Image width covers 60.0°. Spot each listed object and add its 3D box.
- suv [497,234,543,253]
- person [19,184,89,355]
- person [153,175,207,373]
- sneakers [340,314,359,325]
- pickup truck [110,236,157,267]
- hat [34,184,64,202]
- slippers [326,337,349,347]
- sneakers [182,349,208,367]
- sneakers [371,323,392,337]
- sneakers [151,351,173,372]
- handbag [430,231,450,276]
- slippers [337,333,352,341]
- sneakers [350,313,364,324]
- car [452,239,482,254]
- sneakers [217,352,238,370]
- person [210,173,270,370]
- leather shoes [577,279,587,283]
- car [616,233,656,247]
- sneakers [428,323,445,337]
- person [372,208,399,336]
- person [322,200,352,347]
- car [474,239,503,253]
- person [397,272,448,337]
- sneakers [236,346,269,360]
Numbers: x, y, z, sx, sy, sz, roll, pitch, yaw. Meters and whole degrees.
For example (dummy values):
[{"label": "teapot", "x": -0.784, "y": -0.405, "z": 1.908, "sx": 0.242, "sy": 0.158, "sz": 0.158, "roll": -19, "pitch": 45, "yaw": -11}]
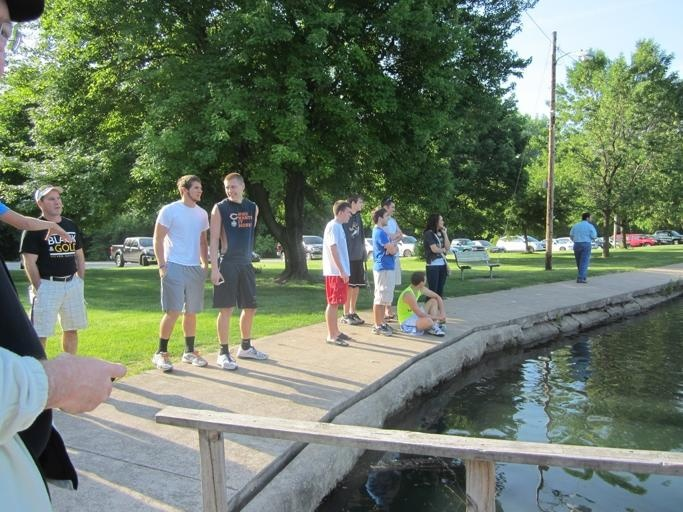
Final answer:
[{"label": "suv", "x": 13.986, "y": -0.931, "z": 46.775, "sx": 2.629, "sy": 1.328, "sz": 1.691, "roll": -2, "pitch": 1, "yaw": 22}, {"label": "person", "x": -3.370, "y": 0.319, "z": 7.037, "sx": 0.418, "sy": 2.256, "sz": 0.728, "roll": 20, "pitch": 21, "yaw": 37}, {"label": "person", "x": -2.030, "y": 0.228, "z": 7.489, "sx": 0.707, "sy": 2.463, "sz": 0.701, "roll": 0, "pitch": 9, "yaw": -26}, {"label": "sneakers", "x": 0.121, "y": 1.130, "z": 10.492, "sx": 0.316, "sy": 0.158, "sz": 0.140, "roll": 2, "pitch": -1, "yaw": 35}, {"label": "pickup truck", "x": -11.496, "y": -0.268, "z": 32.840, "sx": 4.365, "sy": 1.892, "sz": 1.880, "roll": -5, "pitch": -4, "yaw": 43}, {"label": "hat", "x": -3.429, "y": -0.716, "z": 6.890, "sx": 0.253, "sy": 0.202, "sz": 0.346, "roll": 1, "pitch": 10, "yaw": -24}, {"label": "slippers", "x": -0.071, "y": 1.247, "z": 8.733, "sx": 0.318, "sy": 0.131, "sz": 0.122, "roll": 2, "pitch": 10, "yaw": 21}, {"label": "sneakers", "x": -1.888, "y": 1.310, "z": 7.643, "sx": 0.362, "sy": 0.160, "sz": 0.142, "roll": 10, "pitch": 7, "yaw": 19}, {"label": "sneakers", "x": 0.647, "y": 1.189, "z": 9.532, "sx": 0.325, "sy": 0.163, "sz": 0.123, "roll": 0, "pitch": -1, "yaw": 27}, {"label": "sneakers", "x": -2.227, "y": 1.307, "z": 7.312, "sx": 0.139, "sy": 0.175, "sz": 0.349, "roll": 0, "pitch": 2, "yaw": -44}, {"label": "handbag", "x": 1.892, "y": -0.104, "z": 11.165, "sx": 0.245, "sy": 0.749, "sz": 0.527, "roll": 2, "pitch": -13, "yaw": -16}, {"label": "slippers", "x": 0.046, "y": 1.218, "z": 8.851, "sx": 0.214, "sy": 0.094, "sz": 0.080, "roll": 8, "pitch": 0, "yaw": -23}, {"label": "sneakers", "x": 0.260, "y": 1.132, "z": 10.567, "sx": 0.108, "sy": 0.130, "sz": 0.304, "roll": -5, "pitch": -2, "yaw": -30}, {"label": "car", "x": 7.632, "y": -0.594, "z": 36.398, "sx": 1.882, "sy": 0.945, "sz": 1.230, "roll": -4, "pitch": 4, "yaw": 0}, {"label": "sneakers", "x": -1.473, "y": 1.337, "z": 7.500, "sx": 0.304, "sy": 0.144, "sz": 0.133, "roll": 1, "pitch": 2, "yaw": 38}, {"label": "person", "x": -1.383, "y": 0.183, "z": 7.708, "sx": 0.718, "sy": 2.463, "sz": 0.992, "roll": 3, "pitch": 9, "yaw": -9}, {"label": "leather shoes", "x": 6.838, "y": 0.724, "z": 16.870, "sx": 0.251, "sy": 0.120, "sz": 0.096, "roll": 0, "pitch": 4, "yaw": 26}, {"label": "car", "x": 25.835, "y": -1.358, "z": 52.103, "sx": 2.758, "sy": 1.219, "sz": 1.447, "roll": -3, "pitch": 0, "yaw": 19}, {"label": "sneakers", "x": 1.548, "y": 1.180, "z": 9.443, "sx": 0.257, "sy": 0.174, "sz": 0.355, "roll": 3, "pitch": 9, "yaw": -15}, {"label": "person", "x": 0.681, "y": 0.223, "z": 9.780, "sx": 0.460, "sy": 1.950, "sz": 1.039, "roll": 5, "pitch": 9, "yaw": 1}, {"label": "person", "x": -0.067, "y": 0.241, "z": 9.128, "sx": 0.500, "sy": 2.138, "sz": 1.241, "roll": 4, "pitch": 9, "yaw": -1}, {"label": "car", "x": 11.099, "y": -0.740, "z": 44.484, "sx": 2.225, "sy": 0.790, "sz": 1.420, "roll": 4, "pitch": -1, "yaw": -20}, {"label": "person", "x": 1.351, "y": 0.770, "z": 9.729, "sx": 0.799, "sy": 1.083, "sz": 0.800, "roll": -12, "pitch": 14, "yaw": -40}, {"label": "sneakers", "x": -1.196, "y": 1.295, "z": 7.968, "sx": 0.446, "sy": 0.220, "sz": 0.171, "roll": 3, "pitch": -4, "yaw": -2}]
